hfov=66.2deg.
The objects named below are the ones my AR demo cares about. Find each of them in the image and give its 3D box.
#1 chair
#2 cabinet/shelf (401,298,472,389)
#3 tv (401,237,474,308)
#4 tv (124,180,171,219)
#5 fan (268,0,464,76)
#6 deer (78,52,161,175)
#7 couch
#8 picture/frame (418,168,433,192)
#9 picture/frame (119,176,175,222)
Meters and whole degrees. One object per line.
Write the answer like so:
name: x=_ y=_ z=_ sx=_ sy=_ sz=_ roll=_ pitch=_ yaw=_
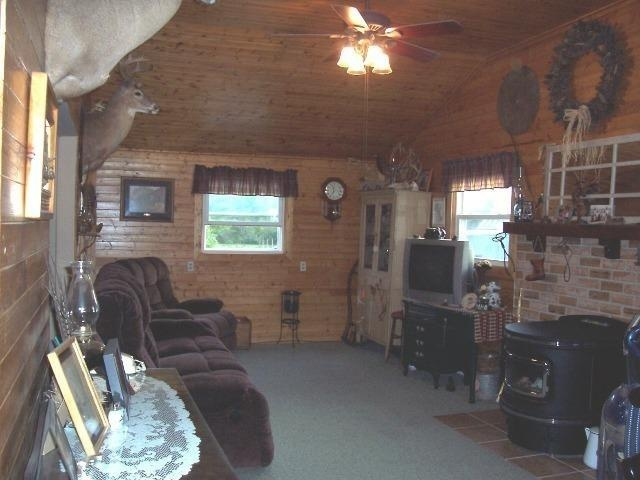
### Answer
chair: x=-1.423 y=0.668 z=5.026 sx=1.129 sy=1.073 sz=1.062 roll=0 pitch=2 yaw=-16
cabinet/shelf: x=1.209 y=1.061 z=4.999 sx=0.364 sy=0.775 sz=0.934 roll=2 pitch=-1 yaw=-25
tv: x=1.362 y=0.356 z=5.417 sx=0.454 sy=0.732 sz=0.825 roll=1 pitch=2 yaw=-36
tv: x=-2.221 y=-0.504 z=6.182 sx=0.505 sy=0.429 sz=0.175 roll=0 pitch=0 yaw=-17
fan: x=0.419 y=-1.408 z=3.374 sx=0.958 sy=0.493 sz=0.621 roll=0 pitch=3 yaw=-12
deer: x=-1.870 y=-1.200 z=4.534 sx=0.626 sy=1.268 sz=1.179 roll=0 pitch=3 yaw=-25
couch: x=-1.386 y=0.752 z=4.801 sx=1.067 sy=1.116 sz=2.950 roll=8 pitch=-4 yaw=-11
picture/frame: x=1.358 y=-0.755 z=6.278 sx=0.104 sy=0.271 sz=0.177 roll=-1 pitch=4 yaw=-35
picture/frame: x=-2.228 y=-0.514 z=6.180 sx=0.587 sy=0.497 sz=0.204 roll=0 pitch=1 yaw=-17
